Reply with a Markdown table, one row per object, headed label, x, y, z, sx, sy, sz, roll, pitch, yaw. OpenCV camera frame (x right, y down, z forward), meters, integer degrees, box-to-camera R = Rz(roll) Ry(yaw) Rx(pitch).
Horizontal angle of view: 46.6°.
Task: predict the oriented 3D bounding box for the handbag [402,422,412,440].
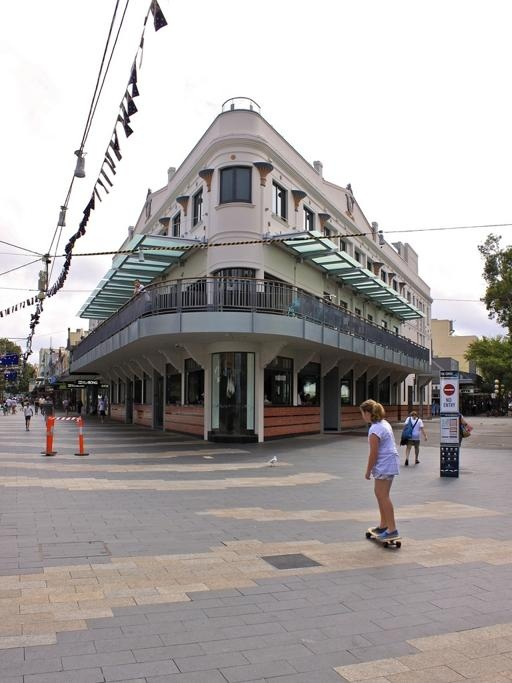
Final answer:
| label | x | y | z | sx | sy | sz | roll | pitch | yaw |
| --- | --- | --- | --- | --- | --- | --- | --- | --- | --- |
| handbag | 3.964 | 2.350 | 15.578 | 0.291 | 0.486 | 0.395 | 1 | -7 | -9 |

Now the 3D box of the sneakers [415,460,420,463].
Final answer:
| label | x | y | z | sx | sy | sz | roll | pitch | yaw |
| --- | --- | --- | --- | --- | --- | --- | --- | --- | --- |
| sneakers | 4.352 | 3.190 | 15.846 | 0.104 | 0.105 | 0.298 | -3 | -13 | 6 |

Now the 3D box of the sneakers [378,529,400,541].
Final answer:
| label | x | y | z | sx | sy | sz | roll | pitch | yaw |
| --- | --- | --- | --- | --- | --- | --- | --- | --- | --- |
| sneakers | 1.430 | 2.079 | 6.407 | 0.278 | 0.112 | 0.107 | -3 | -4 | 20 |

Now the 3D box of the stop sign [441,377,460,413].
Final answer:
| label | x | y | z | sx | sy | sz | roll | pitch | yaw |
| --- | --- | --- | --- | --- | --- | --- | --- | --- | --- |
| stop sign | 4.364 | 1.165 | 13.369 | 0.463 | 0.896 | 0.308 | -4 | -8 | 35 |

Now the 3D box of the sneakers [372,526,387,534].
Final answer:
| label | x | y | z | sx | sy | sz | roll | pitch | yaw |
| --- | --- | --- | --- | --- | --- | --- | --- | --- | --- |
| sneakers | 1.409 | 2.119 | 6.721 | 0.065 | 0.068 | 0.177 | 7 | -7 | -32 |

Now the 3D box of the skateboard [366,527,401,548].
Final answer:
| label | x | y | z | sx | sy | sz | roll | pitch | yaw |
| --- | --- | --- | --- | --- | --- | --- | --- | --- | --- |
| skateboard | 1.411 | 2.156 | 6.571 | 0.133 | 0.078 | 0.540 | 0 | -6 | -10 |
